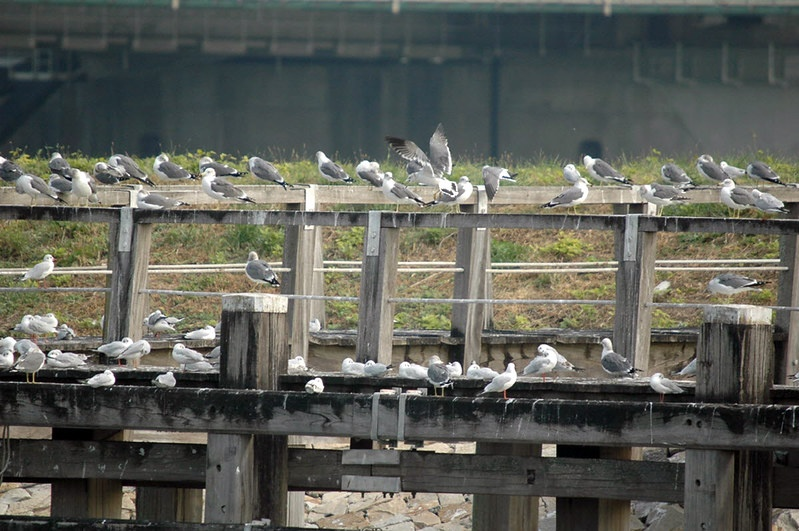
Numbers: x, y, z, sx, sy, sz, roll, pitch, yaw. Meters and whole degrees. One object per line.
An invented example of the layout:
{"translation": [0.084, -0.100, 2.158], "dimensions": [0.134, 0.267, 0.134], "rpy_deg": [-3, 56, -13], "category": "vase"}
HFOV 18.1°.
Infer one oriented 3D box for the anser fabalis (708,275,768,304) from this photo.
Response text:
{"translation": [8.365, 0.617, 61.329], "dimensions": [1.261, 0.701, 0.384], "rpy_deg": [-20, -2, 16], "category": "anser fabalis"}
